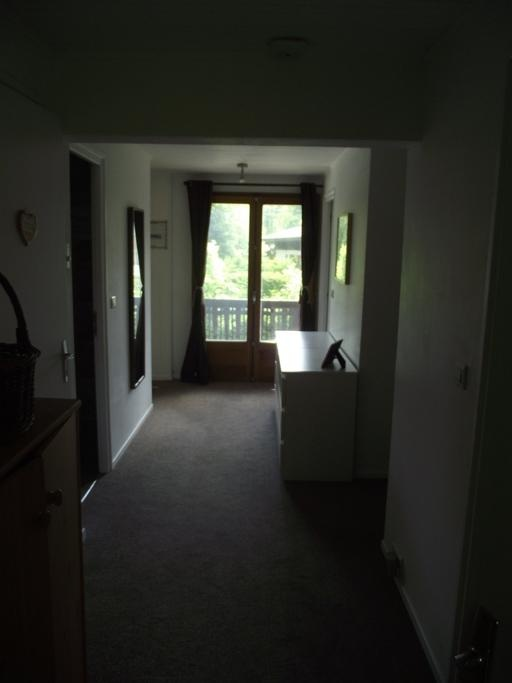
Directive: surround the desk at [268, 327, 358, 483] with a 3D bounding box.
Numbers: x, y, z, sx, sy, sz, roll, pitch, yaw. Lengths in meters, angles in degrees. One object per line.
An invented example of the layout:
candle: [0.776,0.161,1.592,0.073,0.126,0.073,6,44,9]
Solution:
desk: [0.435,0.502,3.966,0.531,0.830,1.058,1,8,-1]
